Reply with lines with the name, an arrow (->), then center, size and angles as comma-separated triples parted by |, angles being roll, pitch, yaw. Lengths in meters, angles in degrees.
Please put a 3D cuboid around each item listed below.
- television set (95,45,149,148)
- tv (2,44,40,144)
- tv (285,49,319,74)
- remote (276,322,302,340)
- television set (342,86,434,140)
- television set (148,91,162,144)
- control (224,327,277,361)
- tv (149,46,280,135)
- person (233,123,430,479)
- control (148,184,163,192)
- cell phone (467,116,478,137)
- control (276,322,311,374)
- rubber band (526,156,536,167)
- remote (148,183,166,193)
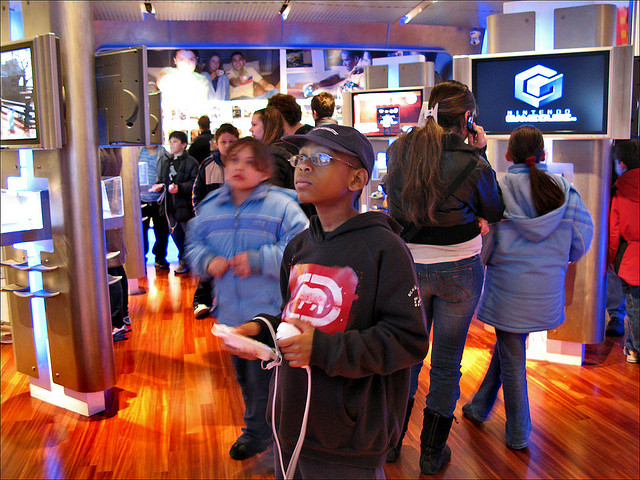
television set -> -1.425, -0.902, 3.117 | 0.775, 0.608, 0.090 | 3, 7, 28
tv -> -1.763, -0.889, 2.856 | 0.550, 0.617, 0.043 | 5, 6, 31
tv -> -0.337, -3.313, 8.923 | 0.595, 0.437, 0.064 | -4, 14, -15
remote -> -0.100, 0.291, 1.575 | 0.048, 0.067, 0.061 | -1, -5, 32
television set -> 0.806, -1.476, 5.755 | 0.992, 0.616, 0.113 | -3, -1, -2
television set -> -1.823, -1.353, 5.347 | 0.143, 0.557, 0.261 | -5, 14, -18
control -> -0.229, 0.340, 1.601 | 0.168, 0.118, 0.095 | -3, 13, -9
tv -> -1.930, -2.579, 8.639 | 2.578, 1.951, 0.110 | -1, -4, 1
person -> 0.062, 0.271, 1.725 | 0.638, 1.337, 0.453 | 2, 13, 13
control -> -2.140, -0.680, 6.296 | 0.167, 0.046, 0.041 | -34, 5, 13
cell phone -> 0.831, -0.631, 2.658 | 0.029, 0.103, 0.072 | 3, 0, 11
control -> -0.111, 0.366, 1.626 | 0.129, 0.143, 0.106 | -7, 47, -28
rubber band -> 1.267, -0.476, 2.893 | 0.053, 0.057, 0.017 | 0, -10, 19
remote -> -2.124, -0.676, 6.301 | 0.265, 0.057, 0.079 | -19, 52, 3
